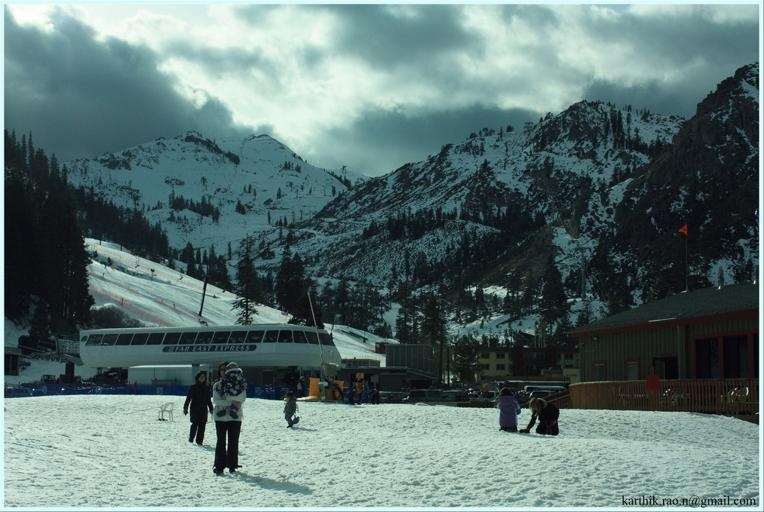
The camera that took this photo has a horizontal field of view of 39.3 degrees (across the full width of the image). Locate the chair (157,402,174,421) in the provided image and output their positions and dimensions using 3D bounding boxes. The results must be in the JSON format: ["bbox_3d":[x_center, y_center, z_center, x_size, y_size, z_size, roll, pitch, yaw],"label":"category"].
[{"bbox_3d":[-15.518,11.075,76.450,0.848,1.324,0.921,-3,-18,6],"label":"chair"}]

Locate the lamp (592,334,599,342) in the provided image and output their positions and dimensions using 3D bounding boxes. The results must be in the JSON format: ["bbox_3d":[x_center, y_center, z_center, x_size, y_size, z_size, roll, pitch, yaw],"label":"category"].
[{"bbox_3d":[16.429,6.280,82.372,0.166,0.510,0.767,9,-15,-29],"label":"lamp"}]
